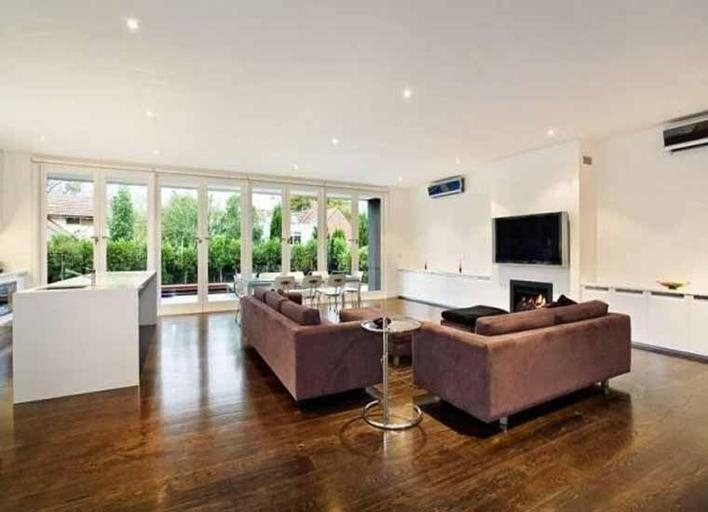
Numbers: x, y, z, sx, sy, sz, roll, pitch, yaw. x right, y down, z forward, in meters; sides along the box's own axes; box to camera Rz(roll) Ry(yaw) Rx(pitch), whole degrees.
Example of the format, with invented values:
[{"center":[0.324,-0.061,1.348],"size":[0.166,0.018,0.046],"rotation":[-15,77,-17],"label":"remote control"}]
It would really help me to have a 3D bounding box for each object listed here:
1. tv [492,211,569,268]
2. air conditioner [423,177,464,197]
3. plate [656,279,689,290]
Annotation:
[{"center":[2.941,-0.268,8.284],"size":[0.182,0.843,1.231],"rotation":[-7,6,-41],"label":"tv"},{"center":[1.970,-1.495,10.547],"size":[0.212,0.423,1.013],"rotation":[-1,2,-30],"label":"air conditioner"},{"center":[4.486,0.411,6.851],"size":[0.279,0.109,0.148],"rotation":[2,-2,29],"label":"plate"}]
